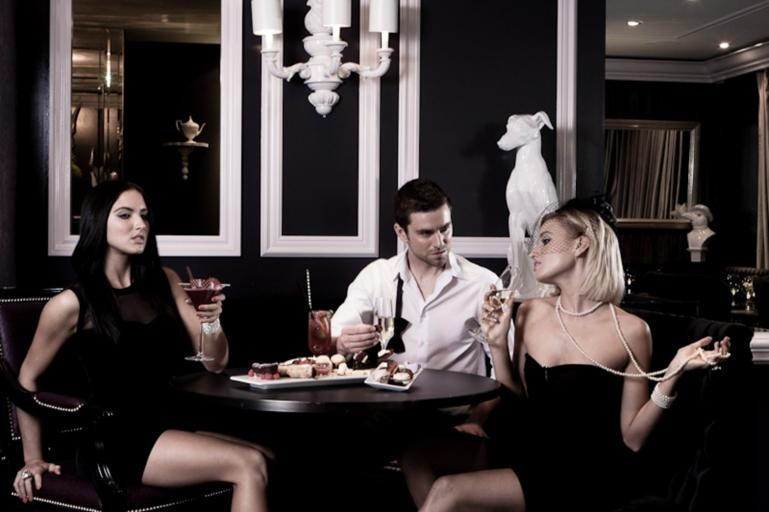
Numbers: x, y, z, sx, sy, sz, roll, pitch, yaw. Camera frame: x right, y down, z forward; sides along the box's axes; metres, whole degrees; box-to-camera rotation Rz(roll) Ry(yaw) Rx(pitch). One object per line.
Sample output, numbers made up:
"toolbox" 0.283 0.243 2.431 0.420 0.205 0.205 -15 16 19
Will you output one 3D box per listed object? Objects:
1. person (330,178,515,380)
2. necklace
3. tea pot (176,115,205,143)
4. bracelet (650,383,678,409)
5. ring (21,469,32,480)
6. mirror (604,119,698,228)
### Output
"person" 0.167 0.144 4.017 1.109 1.657 0.888 0 -5 11
"necklace" 1.121 0.395 3.193 0.612 0.392 0.148 13 -17 25
"tea pot" -1.297 -0.841 4.591 0.235 0.199 0.144 0 -2 -2
"bracelet" 1.273 0.637 3.165 0.113 0.089 0.113 1 -6 -33
"ring" -1.726 1.052 3.324 0.043 0.039 0.019 -1 5 -17
"mirror" 3.337 -1.029 8.736 1.563 1.684 0.113 1 0 -12
